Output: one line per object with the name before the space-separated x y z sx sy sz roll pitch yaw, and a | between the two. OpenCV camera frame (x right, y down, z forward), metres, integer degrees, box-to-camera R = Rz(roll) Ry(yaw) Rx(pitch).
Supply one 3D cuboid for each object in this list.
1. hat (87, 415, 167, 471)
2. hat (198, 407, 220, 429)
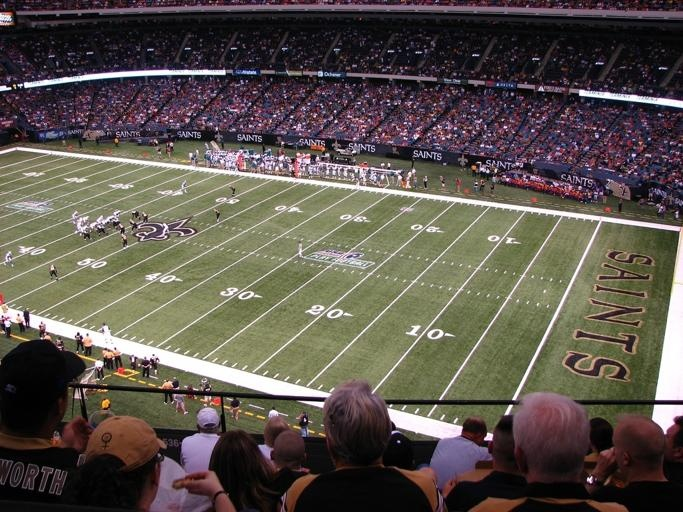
hat | -1.231 1.037 3.287 0.394 0.235 0.378 3 -9 5
hat | -1.386 1.654 6.064 0.210 0.113 0.271 0 9 -12
